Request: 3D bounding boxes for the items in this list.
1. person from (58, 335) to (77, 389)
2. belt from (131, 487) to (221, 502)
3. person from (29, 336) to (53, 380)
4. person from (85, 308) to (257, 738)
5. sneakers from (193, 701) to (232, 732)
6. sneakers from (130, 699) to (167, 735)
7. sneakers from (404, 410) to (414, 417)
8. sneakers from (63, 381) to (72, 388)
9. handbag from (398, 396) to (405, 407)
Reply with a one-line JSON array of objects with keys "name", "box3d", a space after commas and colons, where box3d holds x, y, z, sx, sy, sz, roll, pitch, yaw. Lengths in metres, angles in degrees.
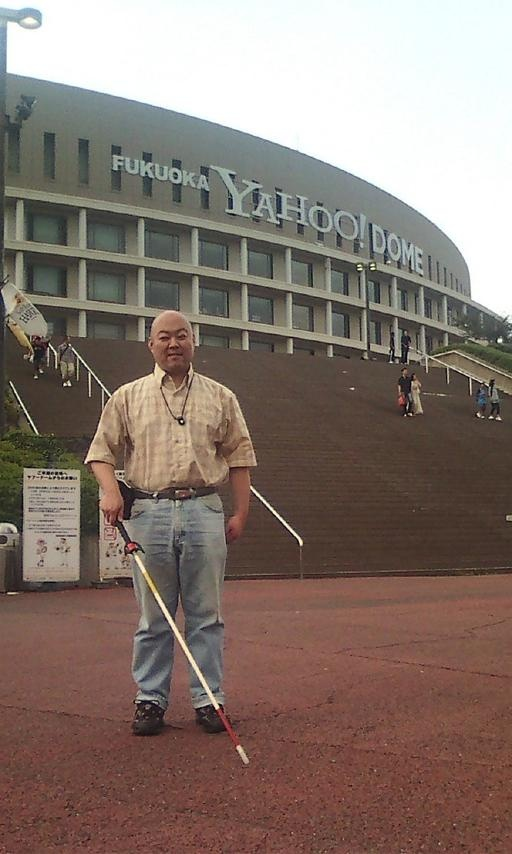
[{"name": "person", "box3d": [-5.116, -1.715, 22.740, 0.358, 1.375, 0.962, 1, -2, -11]}, {"name": "belt", "box3d": [-0.338, 0.272, 3.442, 0.351, 0.048, 0.146, 0, -2, -6]}, {"name": "person", "box3d": [-6.081, -1.914, 23.544, 0.418, 1.252, 1.072, 1, -2, -16]}, {"name": "person", "box3d": [-0.360, 0.365, 3.521, 0.718, 1.765, 0.409, 0, -2, -6]}, {"name": "sneakers", "box3d": [-0.176, 1.163, 3.357, 0.072, 0.090, 0.193, 3, -21, -21]}, {"name": "sneakers", "box3d": [-0.434, 1.158, 3.364, 0.119, 0.123, 0.149, 0, -2, -5]}, {"name": "sneakers", "box3d": [4.308, -0.376, 23.754, 0.101, 0.180, 0.330, 2, -1, -3]}, {"name": "sneakers", "box3d": [-5.066, -1.143, 22.506, 0.190, 0.192, 0.071, -2, -45, -6]}, {"name": "handbag", "box3d": [4.126, -0.743, 23.698, 0.157, 0.338, 0.365, 0, -2, 22]}]
